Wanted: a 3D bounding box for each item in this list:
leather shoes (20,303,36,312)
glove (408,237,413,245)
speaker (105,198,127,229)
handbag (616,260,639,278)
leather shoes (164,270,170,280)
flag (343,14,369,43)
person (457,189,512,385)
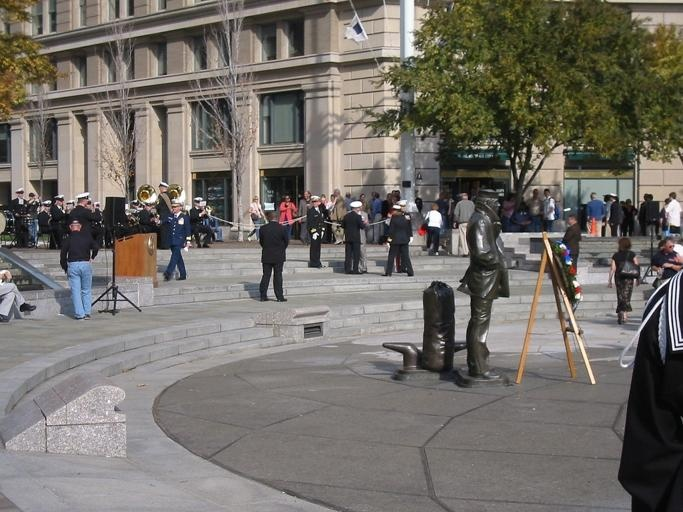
[{"bbox_3d":[-6.812,1.107,24.322,0.343,0.231,0.122,-3,14,-11],"label":"leather shoes"},{"bbox_3d":[2.193,-0.477,35.774,0.135,0.356,0.264,4,1,21],"label":"glove"},{"bbox_3d":[-5.108,-0.993,25.170,0.498,0.639,0.518,-2,5,-23],"label":"speaker"},{"bbox_3d":[6.539,0.309,25.727,0.358,0.339,0.170,-3,-18,-37],"label":"handbag"},{"bbox_3d":[-4.540,0.529,28.998,0.186,0.198,0.183,-3,6,-44],"label":"leather shoes"},{"bbox_3d":[0.443,-8.140,40.330,0.698,0.867,0.708,-1,4,-7],"label":"flag"},{"bbox_3d":[2.413,0.491,19.285,0.843,3.250,0.670,0,5,6],"label":"person"}]
